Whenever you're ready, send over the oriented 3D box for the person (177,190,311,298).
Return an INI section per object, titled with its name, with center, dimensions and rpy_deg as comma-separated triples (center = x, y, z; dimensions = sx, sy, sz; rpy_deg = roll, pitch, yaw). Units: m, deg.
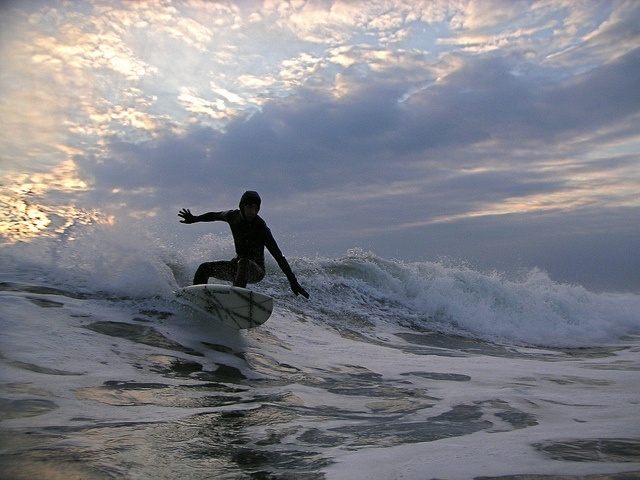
[person]
center = -1.001, 0.215, 6.981
dimensions = 2.176, 1.189, 0.892
rpy_deg = 13, -15, -4
